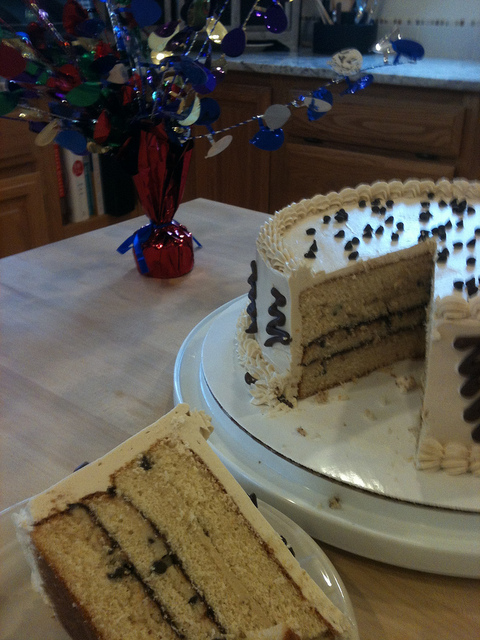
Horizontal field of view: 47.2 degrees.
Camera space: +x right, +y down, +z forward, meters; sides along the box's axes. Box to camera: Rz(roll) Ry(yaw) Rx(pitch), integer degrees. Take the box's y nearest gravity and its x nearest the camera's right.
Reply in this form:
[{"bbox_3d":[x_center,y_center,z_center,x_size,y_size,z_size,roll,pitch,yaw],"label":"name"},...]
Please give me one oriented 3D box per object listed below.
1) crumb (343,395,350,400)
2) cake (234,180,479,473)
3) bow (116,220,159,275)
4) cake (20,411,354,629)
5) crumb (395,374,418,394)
[{"bbox_3d":[0.224,0.166,1.156,0.008,0.008,0.002,-15,75,-41],"label":"crumb"},{"bbox_3d":[0.291,-0.060,1.250,0.718,0.220,0.649,-17,36,-14],"label":"cake"},{"bbox_3d":[-0.324,-0.292,1.750,0.094,0.167,0.224,48,14,-5],"label":"bow"},{"bbox_3d":[-0.079,0.272,0.656,0.269,0.149,0.310,-16,28,-32],"label":"cake"},{"bbox_3d":[0.364,0.141,1.205,0.037,0.010,0.035,-29,41,-17],"label":"crumb"}]
